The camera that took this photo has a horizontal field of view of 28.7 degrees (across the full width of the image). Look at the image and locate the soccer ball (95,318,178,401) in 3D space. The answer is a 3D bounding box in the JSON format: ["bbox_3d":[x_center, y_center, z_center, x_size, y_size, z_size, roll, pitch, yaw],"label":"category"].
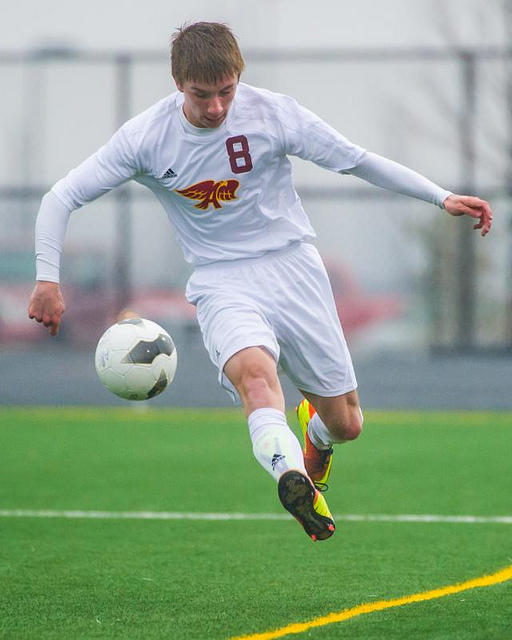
[{"bbox_3d":[-0.507,0.145,4.197,0.311,0.340,0.232,-9,21,-21],"label":"soccer ball"}]
